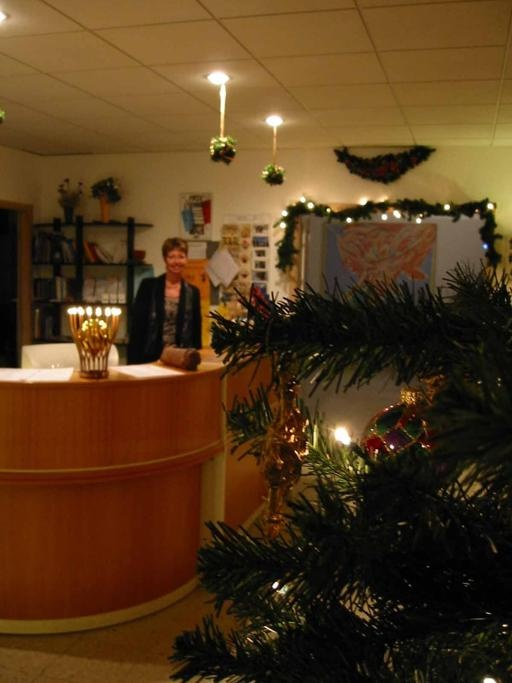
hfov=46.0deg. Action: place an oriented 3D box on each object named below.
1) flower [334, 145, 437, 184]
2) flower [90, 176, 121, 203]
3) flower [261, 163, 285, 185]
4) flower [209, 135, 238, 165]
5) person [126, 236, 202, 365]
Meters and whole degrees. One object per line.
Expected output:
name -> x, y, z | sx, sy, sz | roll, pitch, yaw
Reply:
flower -> 1.093, -1.510, 5.147 | 0.823, 0.324, 0.127 | 5, 10, 14
flower -> -1.432, -1.472, 5.831 | 0.268, 0.256, 0.277 | 2, 10, -4
flower -> 0.130, -1.235, 4.437 | 0.134, 0.144, 0.277 | 3, 10, 4
flower -> -0.191, -1.134, 3.544 | 0.129, 0.177, 0.318 | 2, 10, -1
person -> -0.606, -0.261, 4.058 | 0.504, 0.864, 0.363 | 2, 10, -6
